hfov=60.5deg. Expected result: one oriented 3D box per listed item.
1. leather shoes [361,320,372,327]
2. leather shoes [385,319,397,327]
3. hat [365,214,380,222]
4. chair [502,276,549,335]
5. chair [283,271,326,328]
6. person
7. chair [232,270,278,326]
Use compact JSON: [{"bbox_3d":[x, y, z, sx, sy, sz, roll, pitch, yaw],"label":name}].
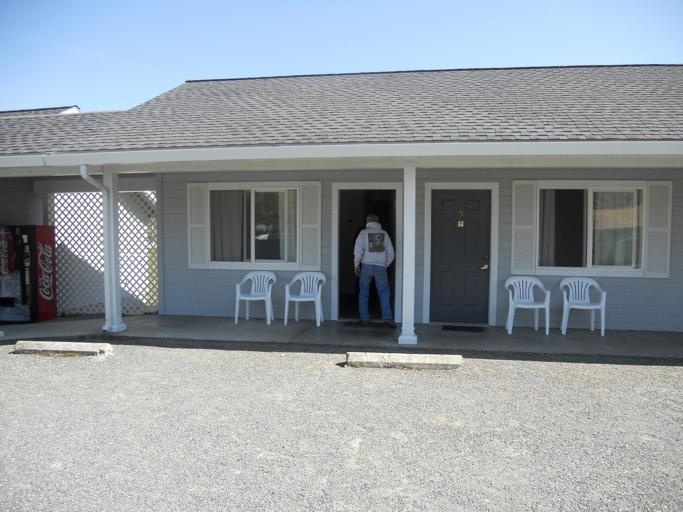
[{"bbox_3d":[0.391,1.106,9.595,0.091,0.089,0.231,0,-8,-3],"label":"leather shoes"},{"bbox_3d":[0.769,1.066,9.414,0.195,0.158,0.183,2,14,8],"label":"leather shoes"},{"bbox_3d":[0.506,-0.621,9.748,0.192,0.090,0.252,3,1,5],"label":"hat"},{"bbox_3d":[2.917,0.780,9.227,0.756,0.838,0.795,4,14,14],"label":"chair"},{"bbox_3d":[-0.562,0.661,9.895,0.917,1.058,0.878,-1,-2,12],"label":"chair"},{"bbox_3d":[0.582,0.237,9.504,0.757,1.701,0.592,8,17,26],"label":"person"},{"bbox_3d":[-1.421,0.695,9.912,0.981,1.072,0.854,0,0,10],"label":"chair"}]
